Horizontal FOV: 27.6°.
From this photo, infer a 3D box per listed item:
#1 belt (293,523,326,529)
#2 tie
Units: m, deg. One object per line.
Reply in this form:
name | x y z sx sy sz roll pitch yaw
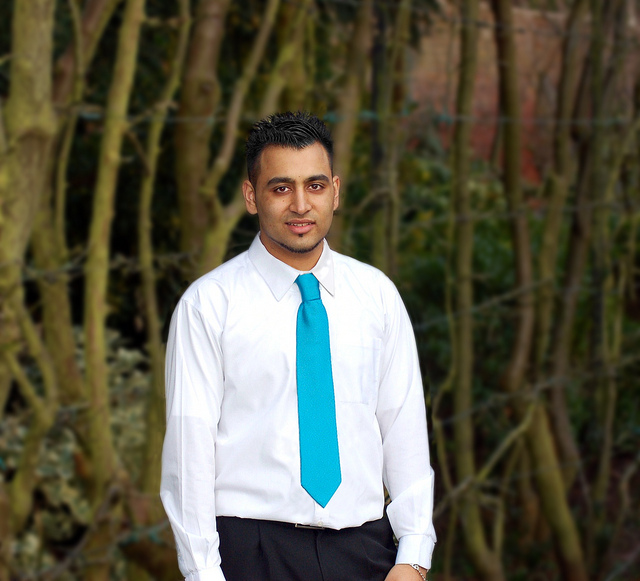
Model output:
belt | -0.040 0.786 4.327 0.099 0.020 0.012 6 0 -9
tie | -0.031 0.330 4.367 0.121 0.772 0.202 4 0 -38
